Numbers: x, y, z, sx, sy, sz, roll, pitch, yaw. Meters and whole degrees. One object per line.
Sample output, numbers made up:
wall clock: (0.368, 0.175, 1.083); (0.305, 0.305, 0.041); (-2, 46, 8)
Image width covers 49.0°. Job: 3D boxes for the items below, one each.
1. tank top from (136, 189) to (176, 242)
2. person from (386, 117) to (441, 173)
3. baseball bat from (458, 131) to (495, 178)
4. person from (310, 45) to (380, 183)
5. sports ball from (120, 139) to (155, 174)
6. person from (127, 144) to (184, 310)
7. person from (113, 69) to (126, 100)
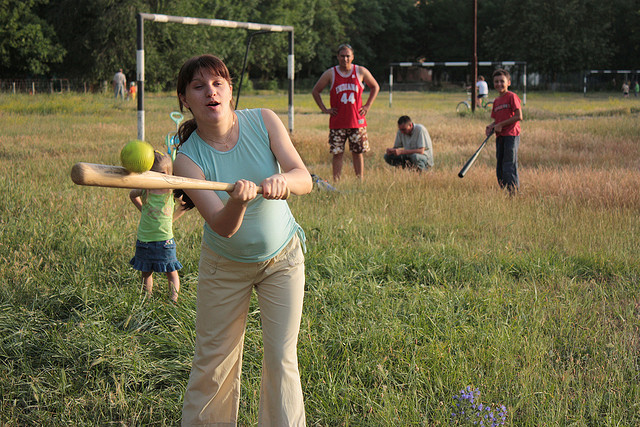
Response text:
tank top: (-2.103, 0.010, 9.016); (0.470, 0.803, 0.401); (3, -3, -6)
person: (1.796, -1.330, 14.236); (0.775, 1.331, 0.800); (1, 11, 40)
baseball bat: (3.313, -1.258, 14.996); (0.171, 1.448, 0.107); (43, 6, 35)
person: (0.469, -1.917, 13.303); (1.057, 2.506, 0.925); (1, 8, 3)
sports ball: (-1.742, -0.550, 6.721); (0.305, 0.293, 0.176); (-4, 9, -24)
person: (-2.115, 0.232, 9.039); (0.632, 2.095, 0.682); (0, 10, -18)
person: (-8.958, -5.835, 31.429); (0.430, 1.327, 2.635); (-2, 11, -16)
